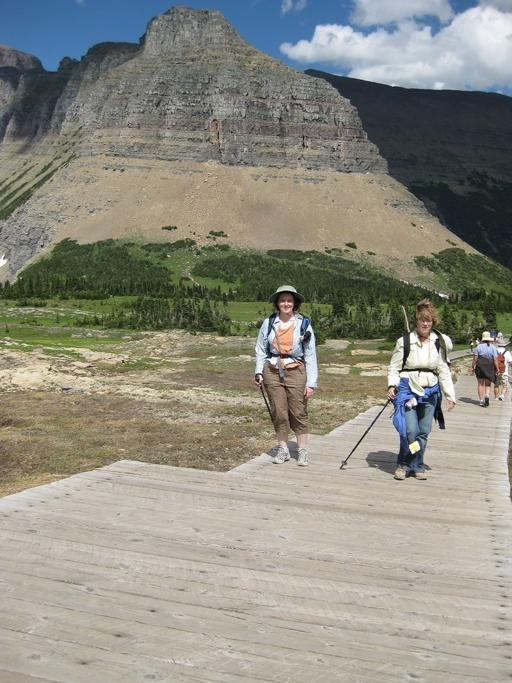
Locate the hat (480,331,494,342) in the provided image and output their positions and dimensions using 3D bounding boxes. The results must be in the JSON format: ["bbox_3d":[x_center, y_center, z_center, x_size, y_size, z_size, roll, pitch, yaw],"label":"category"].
[{"bbox_3d":[6.141,-0.128,16.921,0.409,0.229,0.520,-2,1,18],"label":"hat"}]

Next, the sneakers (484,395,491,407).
[{"bbox_3d":[5.770,1.482,15.923,0.123,0.258,0.120,-7,13,-4],"label":"sneakers"}]

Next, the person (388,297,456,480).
[{"bbox_3d":[2.113,0.602,8.130,0.812,2.188,0.662,1,-1,3],"label":"person"}]

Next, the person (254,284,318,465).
[{"bbox_3d":[0.394,0.440,8.453,0.796,2.326,0.573,1,-1,0],"label":"person"}]

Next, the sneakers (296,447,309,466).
[{"bbox_3d":[0.619,1.525,8.481,0.210,0.229,0.584,-1,-5,7],"label":"sneakers"}]

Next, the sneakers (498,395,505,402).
[{"bbox_3d":[6.730,1.550,17.503,0.112,0.110,0.287,3,4,23],"label":"sneakers"}]

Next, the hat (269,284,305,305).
[{"bbox_3d":[0.411,-0.643,8.518,0.454,0.263,0.817,1,-1,4],"label":"hat"}]

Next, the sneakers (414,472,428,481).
[{"bbox_3d":[2.019,1.651,7.881,0.175,0.086,0.127,0,-1,32],"label":"sneakers"}]
